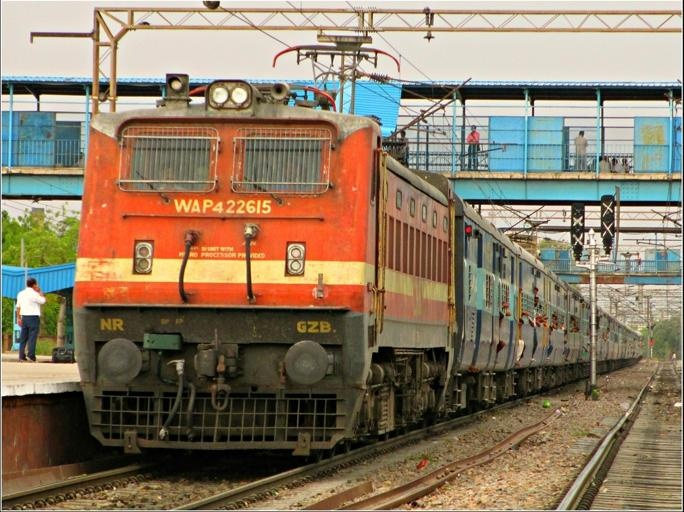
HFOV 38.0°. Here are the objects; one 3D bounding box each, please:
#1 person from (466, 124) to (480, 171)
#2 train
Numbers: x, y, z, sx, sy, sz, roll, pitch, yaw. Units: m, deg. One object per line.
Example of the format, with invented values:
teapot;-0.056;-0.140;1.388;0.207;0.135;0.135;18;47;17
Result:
person;3.984;-3.933;36.251;0.399;1.461;0.376;1;8;11
train;0.197;0.418;19.320;3.637;6.308;11.215;-3;-2;24
